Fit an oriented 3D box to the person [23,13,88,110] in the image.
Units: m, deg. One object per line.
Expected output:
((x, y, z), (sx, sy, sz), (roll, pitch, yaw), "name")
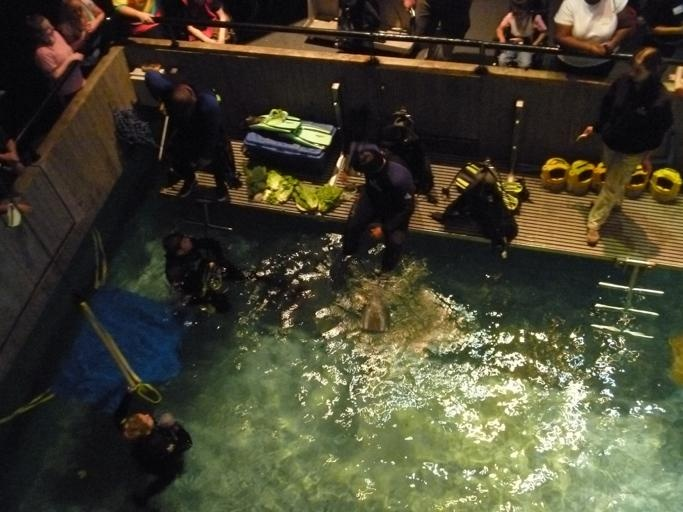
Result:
((-4.149, -2.891, 7.701), (0.607, 1.230, 0.482), (-31, 50, -21), "person")

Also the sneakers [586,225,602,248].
((3.507, -0.271, 7.340), (0.169, 0.079, 0.300), (1, 84, 14), "sneakers")

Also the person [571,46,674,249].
((3.458, -1.287, 6.714), (1.022, 2.653, 1.018), (7, 52, 17), "person")

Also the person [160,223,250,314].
((-2.240, 0.221, 7.874), (0.806, 1.277, 0.752), (-17, 41, -7), "person")

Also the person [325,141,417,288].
((0.457, -0.514, 7.684), (0.963, 1.910, 1.123), (38, 74, 20), "person")

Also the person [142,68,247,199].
((-2.297, -1.737, 8.056), (1.257, 2.535, 0.813), (13, 62, 2), "person")
